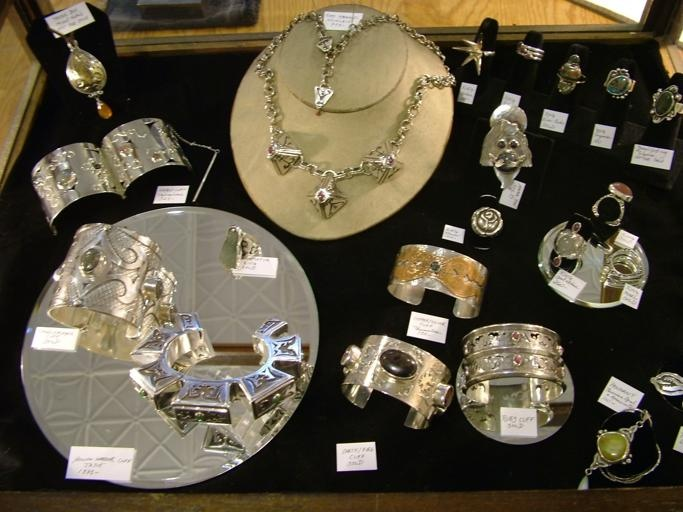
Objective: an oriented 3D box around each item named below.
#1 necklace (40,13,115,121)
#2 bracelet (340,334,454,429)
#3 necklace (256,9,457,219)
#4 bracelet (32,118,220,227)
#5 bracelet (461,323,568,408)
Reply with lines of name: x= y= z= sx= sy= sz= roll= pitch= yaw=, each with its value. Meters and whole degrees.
necklace: x=-1.109 y=-0.862 z=2.378 sx=0.237 sy=0.062 sz=0.601 roll=-24 pitch=72 yaw=-9
bracelet: x=0.185 y=0.430 z=1.943 sx=0.385 sy=0.199 sz=0.261 roll=22 pitch=76 yaw=6
necklace: x=0.029 y=-0.682 z=2.286 sx=0.873 sy=0.142 sz=0.812 roll=-36 pitch=78 yaw=-9
bracelet: x=-0.905 y=-0.354 z=2.168 sx=0.559 sy=0.129 sz=0.242 roll=-28 pitch=77 yaw=-7
bracelet: x=0.580 y=0.337 z=1.886 sx=0.332 sy=0.111 sz=0.209 roll=-1 pitch=75 yaw=0
